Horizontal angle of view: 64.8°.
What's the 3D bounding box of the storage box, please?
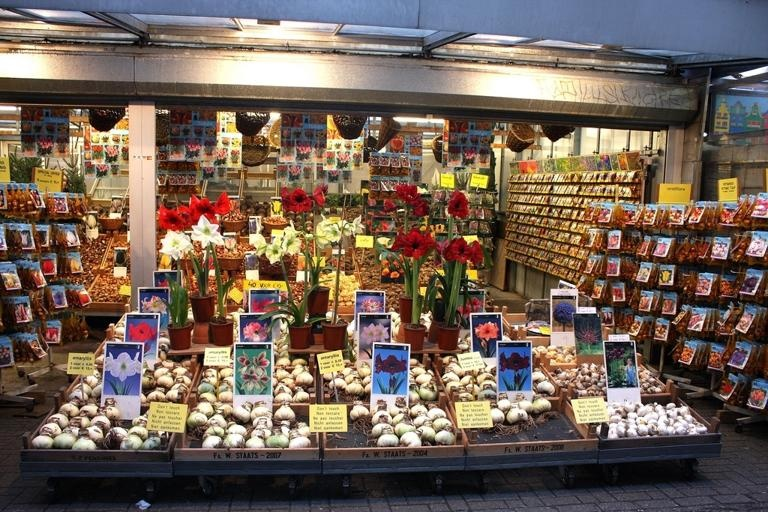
[{"bbox_3d":[0.104,0.772,4.787,5.012,1.729,0.860,0,12,-4],"label":"storage box"}]
